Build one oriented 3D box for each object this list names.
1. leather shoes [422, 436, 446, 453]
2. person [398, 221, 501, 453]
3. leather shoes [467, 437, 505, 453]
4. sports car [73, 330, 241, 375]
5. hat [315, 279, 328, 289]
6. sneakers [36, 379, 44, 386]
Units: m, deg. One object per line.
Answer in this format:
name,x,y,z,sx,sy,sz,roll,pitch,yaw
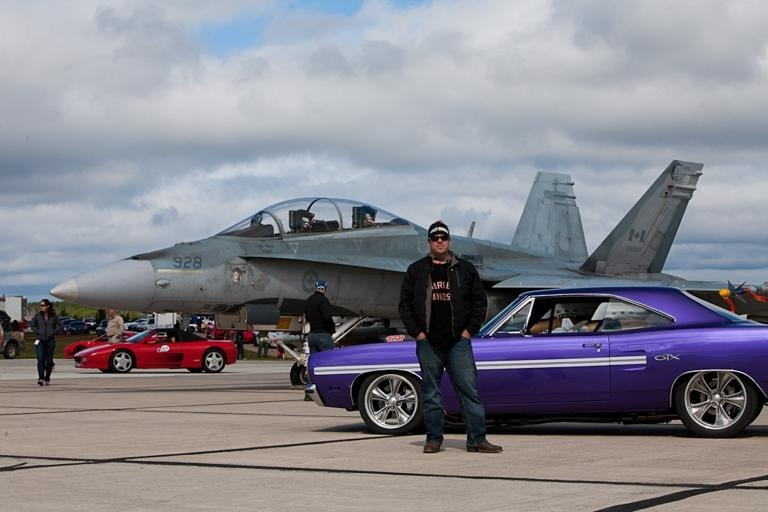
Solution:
leather shoes,0.514,1.954,8.489,0.213,0.139,0.442,-2,-10,13
person,0.640,0.833,8.522,0.970,2.373,0.439,-1,1,4
leather shoes,0.973,1.946,8.432,0.466,0.120,0.137,-2,-3,21
sports car,-7.059,3.040,25.742,4.244,0.816,1.941,2,-6,-9
hat,-1.174,0.504,14.900,0.202,0.151,0.203,4,9,3
sneakers,-7.694,2.817,18.260,0.136,0.115,0.311,-2,-24,-13
